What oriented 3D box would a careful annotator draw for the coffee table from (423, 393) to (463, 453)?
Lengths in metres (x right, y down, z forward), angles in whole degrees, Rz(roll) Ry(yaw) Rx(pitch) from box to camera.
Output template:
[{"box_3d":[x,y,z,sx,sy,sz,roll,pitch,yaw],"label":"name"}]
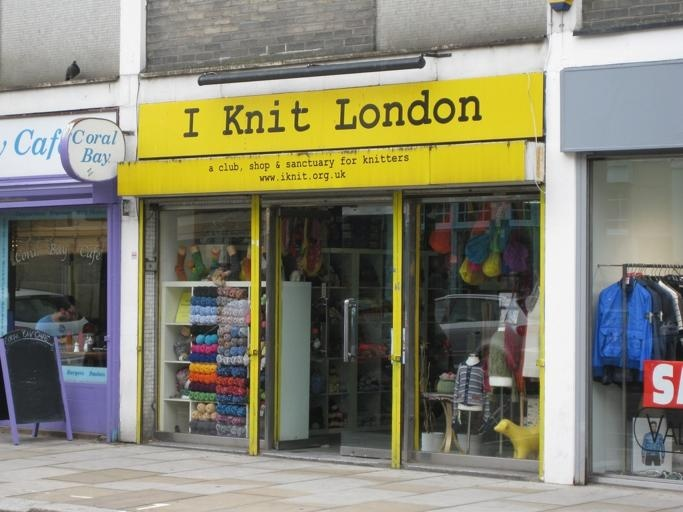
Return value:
[{"box_3d":[1.228,1.969,13.182,0.523,0.684,0.537,0,-3,-2],"label":"coffee table"}]
